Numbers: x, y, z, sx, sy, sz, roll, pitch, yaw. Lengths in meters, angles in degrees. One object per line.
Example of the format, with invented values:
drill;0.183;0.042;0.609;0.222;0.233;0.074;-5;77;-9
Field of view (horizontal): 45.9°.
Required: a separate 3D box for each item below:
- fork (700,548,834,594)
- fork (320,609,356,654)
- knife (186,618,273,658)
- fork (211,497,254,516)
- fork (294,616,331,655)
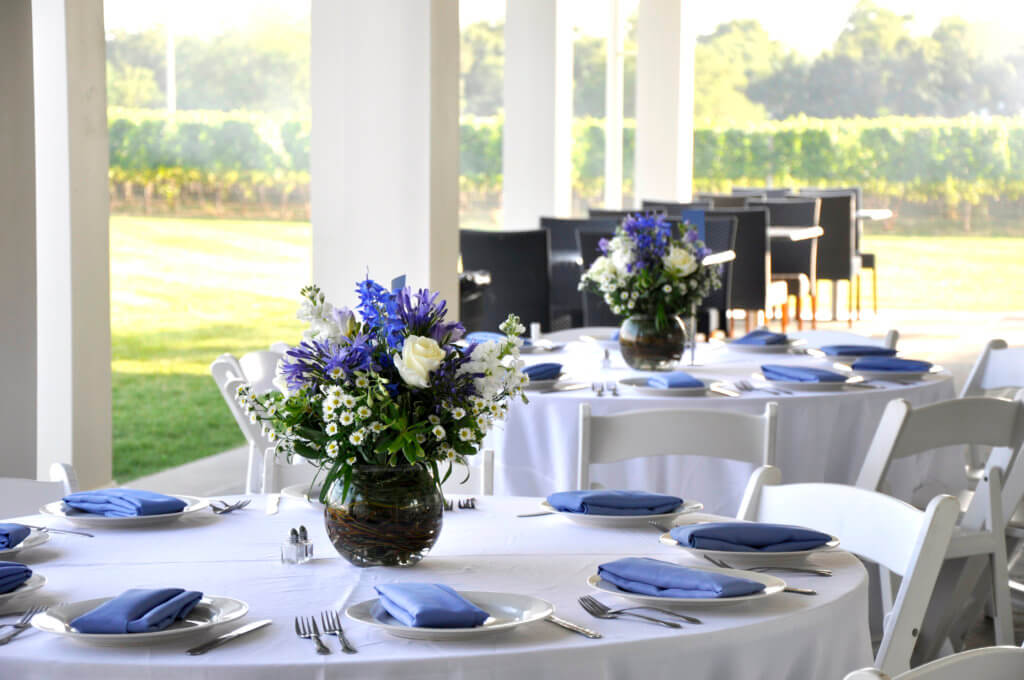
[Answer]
fork;0.668;0.613;3.210;0.296;0.052;0.036;9;19;10
fork;-0.433;0.710;3.007;0.038;0.037;0.232;-7;28;-16
knife;-0.696;0.730;2.960;0.029;0.011;0.210;32;31;32
fork;-0.858;0.502;3.659;0.042;0.024;0.130;-5;1;-43
fork;-0.499;0.720;2.990;0.043;0.027;0.167;2;25;-23
